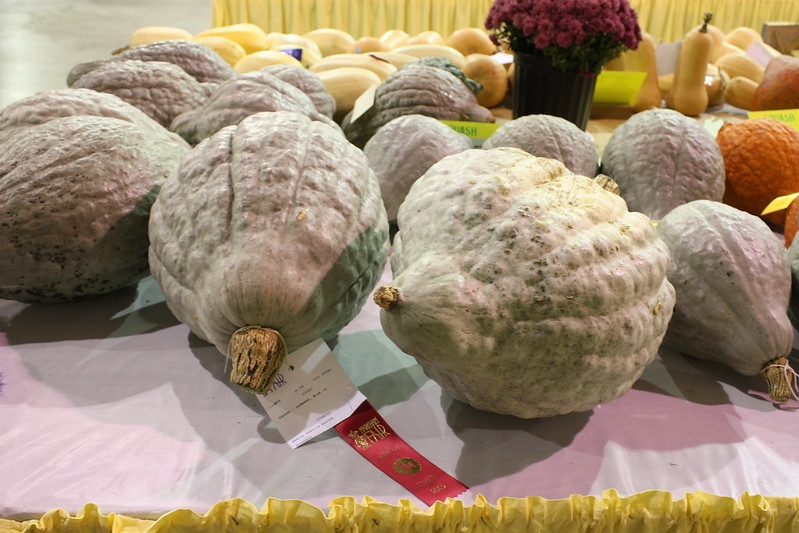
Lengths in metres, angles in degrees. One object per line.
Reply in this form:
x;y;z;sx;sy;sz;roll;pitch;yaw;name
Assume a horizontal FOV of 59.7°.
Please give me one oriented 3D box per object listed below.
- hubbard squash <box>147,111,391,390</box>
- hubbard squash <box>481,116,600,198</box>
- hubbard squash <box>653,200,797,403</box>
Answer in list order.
-0.256;0.022;1.688;0.540;0.472;0.622;8;46;4;hubbard squash
0.416;-0.351;2.014;0.256;0.221;0.232;12;23;13;hubbard squash
0.846;0.086;1.798;0.293;0.295;0.490;19;36;-59;hubbard squash
